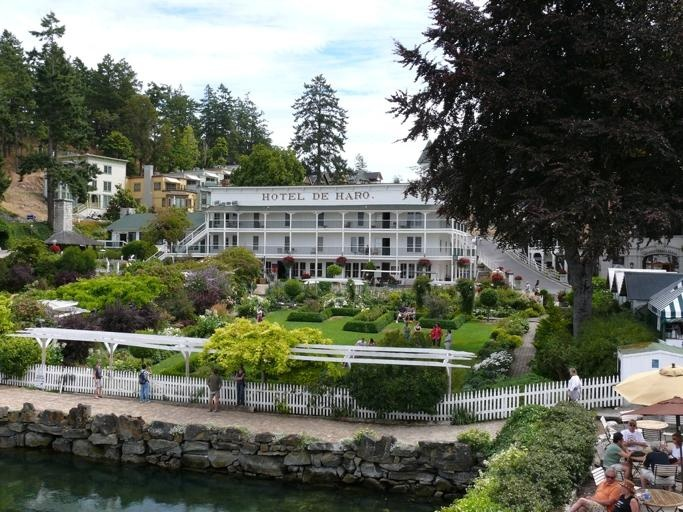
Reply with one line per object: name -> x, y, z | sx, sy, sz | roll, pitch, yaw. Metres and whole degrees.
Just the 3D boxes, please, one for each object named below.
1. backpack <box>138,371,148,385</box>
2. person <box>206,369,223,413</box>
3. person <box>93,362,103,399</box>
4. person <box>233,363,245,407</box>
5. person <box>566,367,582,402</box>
backpack -> -9.765, 5.954, 53.124 | 0.437, 0.693, 0.289 | 1, -3, 4
person -> -6.154, 6.434, 52.104 | 0.681, 2.047, 0.872 | 2, -3, -7
person -> -12.117, 6.150, 53.795 | 0.437, 1.731, 0.928 | 2, -3, -12
person -> -4.891, 6.228, 52.012 | 0.495, 1.998, 0.569 | 2, -3, -5
person -> 10.386, 5.763, 48.328 | 0.601, 1.518, 2.778 | 1, -3, 12
